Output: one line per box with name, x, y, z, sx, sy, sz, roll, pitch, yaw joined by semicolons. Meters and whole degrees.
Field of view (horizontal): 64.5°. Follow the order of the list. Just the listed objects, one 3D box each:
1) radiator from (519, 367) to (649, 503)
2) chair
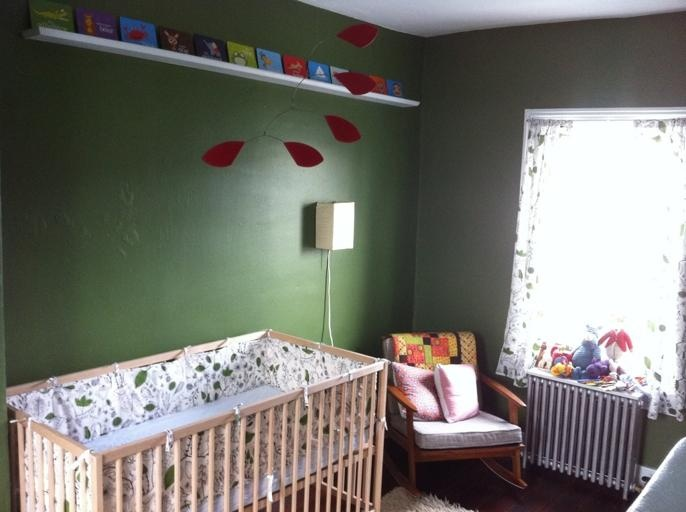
radiator;1.746;1.270;3.850;0.751;0.726;0.255;11;13;33
chair;0.745;1.100;4.218;0.802;0.958;1.168;1;-3;-9
